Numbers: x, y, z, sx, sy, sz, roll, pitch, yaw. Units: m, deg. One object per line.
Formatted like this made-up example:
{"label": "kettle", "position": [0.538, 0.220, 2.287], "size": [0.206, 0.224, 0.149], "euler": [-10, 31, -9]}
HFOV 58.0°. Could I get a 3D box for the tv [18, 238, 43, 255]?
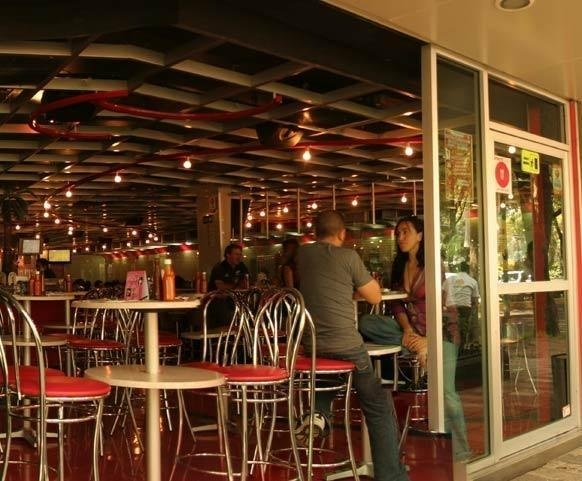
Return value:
{"label": "tv", "position": [-4.358, 0.095, 8.765], "size": [0.393, 0.247, 0.120], "euler": [4, -15, -38]}
